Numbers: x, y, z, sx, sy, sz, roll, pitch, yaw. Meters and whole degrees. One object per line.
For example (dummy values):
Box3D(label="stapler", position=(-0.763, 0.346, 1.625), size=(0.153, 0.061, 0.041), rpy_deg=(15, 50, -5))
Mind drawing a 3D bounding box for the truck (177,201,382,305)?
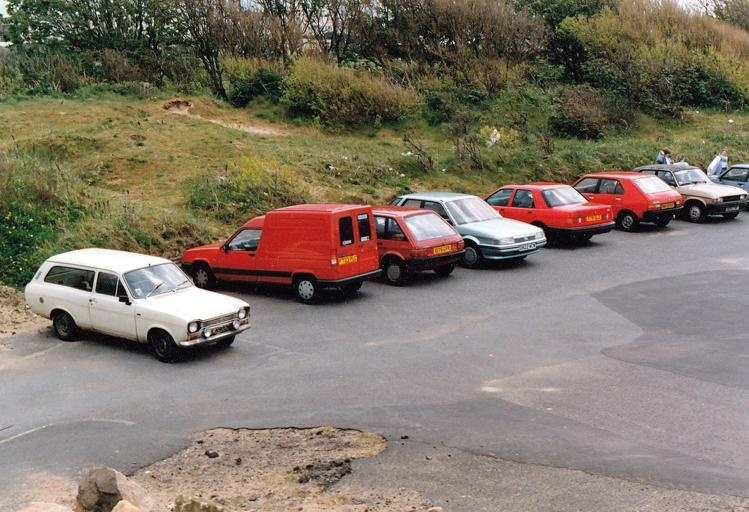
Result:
Box3D(label="truck", position=(-2.290, -0.278, 19.922), size=(4.319, 1.784, 2.427), rpy_deg=(9, 16, 25))

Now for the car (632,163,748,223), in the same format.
Box3D(label="car", position=(11.855, -2.423, 27.469), size=(3.573, 1.405, 2.020), rpy_deg=(10, 19, 41))

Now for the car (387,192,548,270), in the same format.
Box3D(label="car", position=(2.948, -1.029, 22.274), size=(3.807, 1.374, 2.246), rpy_deg=(12, 21, 35))

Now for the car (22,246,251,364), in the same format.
Box3D(label="car", position=(-5.501, 0.934, 16.901), size=(4.828, 1.719, 2.337), rpy_deg=(11, 17, 22))

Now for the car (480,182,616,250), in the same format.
Box3D(label="car", position=(5.607, -1.420, 24.167), size=(1.905, 1.312, 4.040), rpy_deg=(-15, 23, -42))
